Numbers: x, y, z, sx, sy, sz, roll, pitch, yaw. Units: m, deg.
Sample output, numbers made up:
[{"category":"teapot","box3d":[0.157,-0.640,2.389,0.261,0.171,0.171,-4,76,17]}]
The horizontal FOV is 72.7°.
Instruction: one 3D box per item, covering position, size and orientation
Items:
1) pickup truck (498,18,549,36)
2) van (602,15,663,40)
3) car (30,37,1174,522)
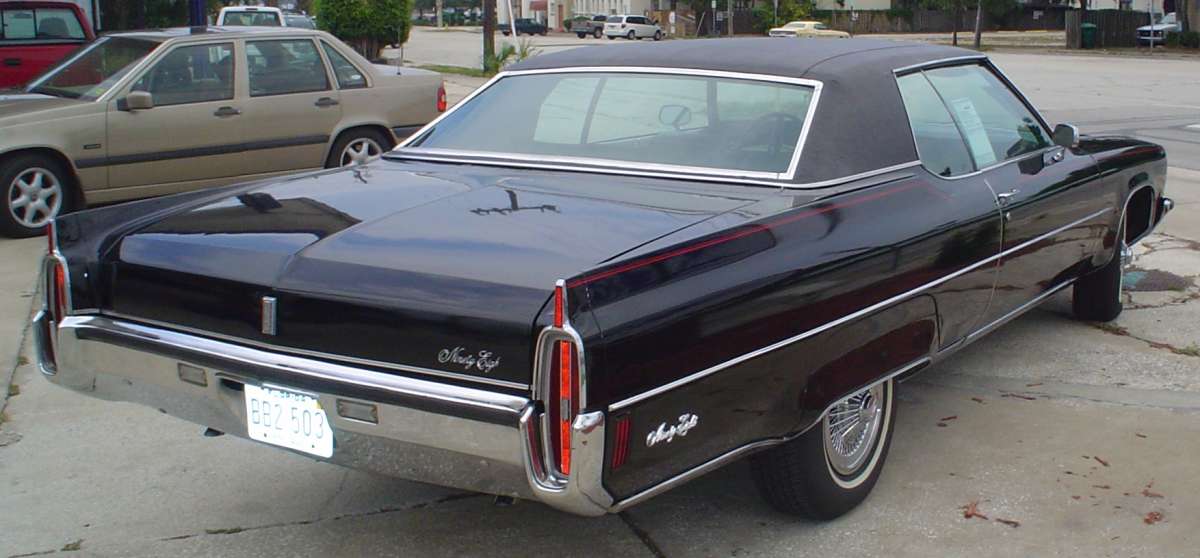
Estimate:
[{"category":"pickup truck","box3d":[-6.209,-21.570,69.998,3.004,1.219,1.430,-16,24,-36]},{"category":"van","box3d":[2.241,-18.239,59.149,2.899,1.626,3.174,9,22,28]},{"category":"car","box3d":[1.154,-0.085,6.623,7.429,1.911,3.730,-17,22,-41]}]
